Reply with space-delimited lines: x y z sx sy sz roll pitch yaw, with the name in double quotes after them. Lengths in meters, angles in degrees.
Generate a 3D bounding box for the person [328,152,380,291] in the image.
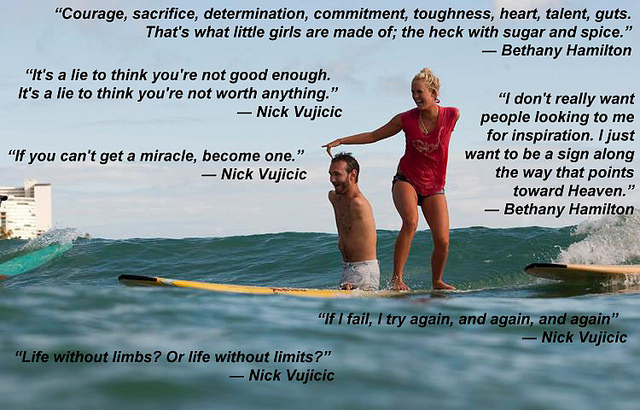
0.469 0.230 11.032 0.723 1.803 0.463 3 0 2 "person"

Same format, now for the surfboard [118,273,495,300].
-0.432 1.056 10.753 4.237 0.267 0.639 1 1 -6 "surfboard"
